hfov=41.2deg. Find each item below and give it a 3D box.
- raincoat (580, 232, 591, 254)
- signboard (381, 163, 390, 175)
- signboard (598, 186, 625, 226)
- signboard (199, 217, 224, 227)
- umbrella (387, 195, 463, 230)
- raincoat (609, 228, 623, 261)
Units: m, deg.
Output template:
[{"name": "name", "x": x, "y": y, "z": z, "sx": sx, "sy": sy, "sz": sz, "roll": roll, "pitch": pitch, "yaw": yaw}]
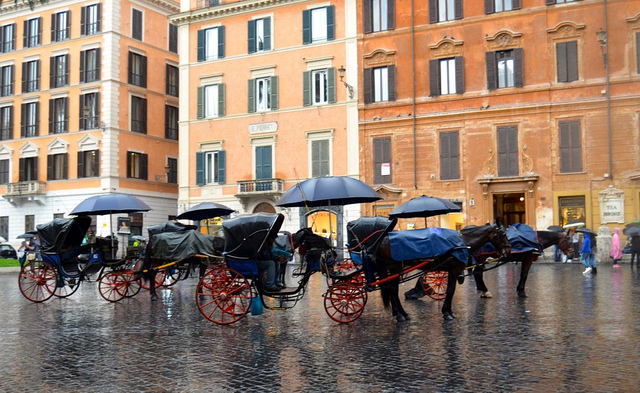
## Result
[{"name": "raincoat", "x": 13.881, "y": 2.440, "z": 44.475, "sx": 0.451, "sy": 1.084, "sz": 0.538, "roll": -3, "pitch": -5, "yaw": 16}, {"name": "signboard", "x": 4.189, "y": -1.745, "z": 54.739, "sx": 0.917, "sy": 0.893, "sz": 0.099, "roll": -2, "pitch": 0, "yaw": 10}, {"name": "signboard", "x": 17.345, "y": 0.510, "z": 50.741, "sx": 1.459, "sy": 2.220, "sz": 0.310, "roll": -3, "pitch": -5, "yaw": 15}, {"name": "signboard", "x": -7.443, "y": 1.765, "z": 57.911, "sx": 1.302, "sy": 0.591, "sz": 2.415, "roll": 0, "pitch": -4, "yaw": -18}, {"name": "umbrella", "x": 5.248, "y": 1.062, "z": 42.168, "sx": 3.309, "sy": 2.046, "sz": 3.138, "roll": -3, "pitch": 3, "yaw": 29}, {"name": "raincoat", "x": 16.319, "y": 2.683, "z": 47.176, "sx": 0.539, "sy": 1.800, "sz": 1.433, "roll": -4, "pitch": -5, "yaw": 18}]
